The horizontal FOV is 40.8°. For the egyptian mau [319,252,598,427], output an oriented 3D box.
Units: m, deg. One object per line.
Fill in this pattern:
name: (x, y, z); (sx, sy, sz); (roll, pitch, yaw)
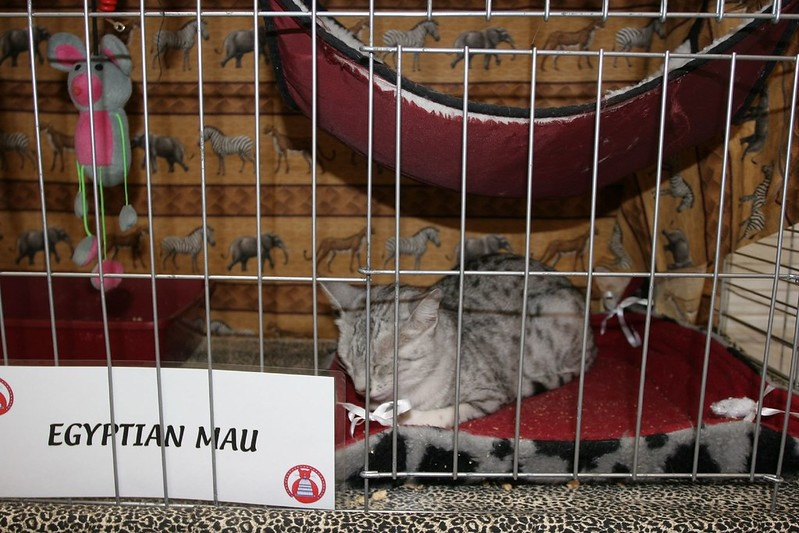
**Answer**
egyptian mau: (0.304, 0.243, 4.202); (0.963, 0.470, 0.583); (-21, 13, -33)

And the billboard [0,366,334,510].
billboard: (-0.785, 0.572, 3.599); (1.134, 0.460, 0.148); (-1, -12, 2)

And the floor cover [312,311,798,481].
floor cover: (0.644, 0.463, 4.050); (1.579, 0.698, 0.836); (2, -13, -10)
